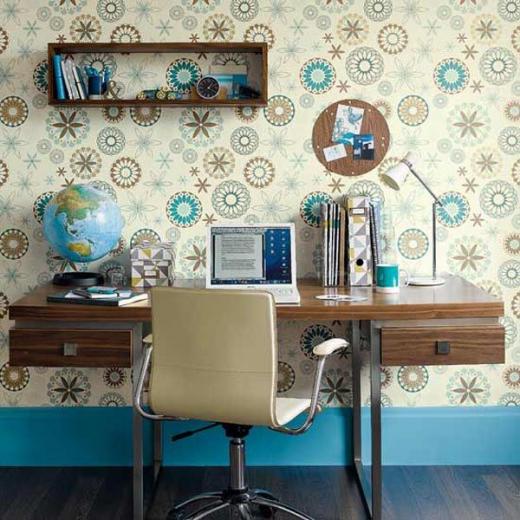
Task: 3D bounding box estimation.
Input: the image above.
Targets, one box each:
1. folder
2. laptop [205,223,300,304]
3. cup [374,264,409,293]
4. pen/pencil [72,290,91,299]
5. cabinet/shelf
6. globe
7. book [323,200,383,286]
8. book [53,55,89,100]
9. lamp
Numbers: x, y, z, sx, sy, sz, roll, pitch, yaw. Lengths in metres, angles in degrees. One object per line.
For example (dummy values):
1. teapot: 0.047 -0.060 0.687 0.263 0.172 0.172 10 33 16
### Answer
1. folder: 0.415 -0.079 2.304 0.128 0.337 0.059 2 9 4
2. laptop: -0.001 0.009 2.454 0.484 0.316 0.347 -1 2 10
3. cup: 0.545 0.070 2.235 0.149 0.112 0.096 2 -2 -9
4. pen/pencil: -0.655 0.129 2.083 0.081 0.024 0.012 -1 -22 42
5. cabinet/shelf: -0.440 -0.794 2.404 0.953 0.301 0.178 -2 9 1
6. globe: -0.724 -0.147 2.294 0.309 0.312 0.127 -5 10 -20
7. book: 0.387 -0.070 2.389 0.232 0.371 0.089 4 9 8
8. book: -0.809 -0.756 2.366 0.181 0.184 0.045 -2 1 3
9. lamp: 0.583 -0.177 2.445 0.480 0.630 0.224 0 0 -30
